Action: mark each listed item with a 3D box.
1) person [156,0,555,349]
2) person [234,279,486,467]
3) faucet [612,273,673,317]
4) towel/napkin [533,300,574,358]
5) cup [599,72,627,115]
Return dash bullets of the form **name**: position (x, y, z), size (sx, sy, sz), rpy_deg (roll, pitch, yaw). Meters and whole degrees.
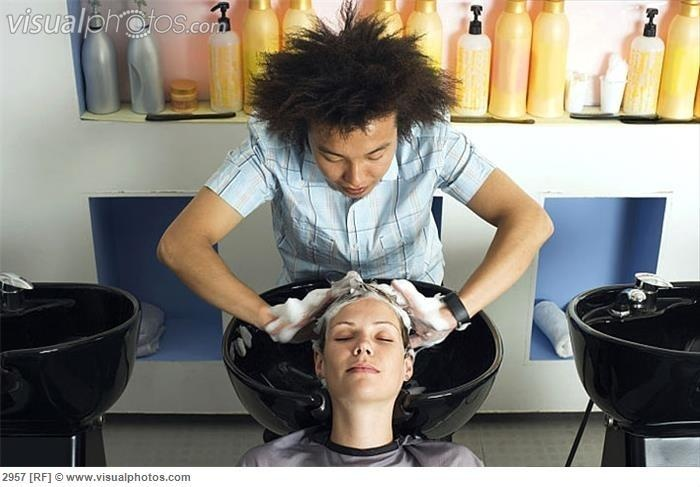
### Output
- **person**: position (0.025, -0.198, 1.836), size (1.135, 0.962, 0.418), rpy_deg (0, 15, 3)
- **person**: position (0.027, 0.308, 1.896), size (0.765, 0.416, 0.662), rpy_deg (2, 43, 3)
- **faucet**: position (0.896, 0.161, 1.934), size (0.181, 0.096, 0.110), rpy_deg (-10, 29, -4)
- **towel/napkin**: position (0.877, 0.372, 2.732), size (0.086, 0.218, 0.219), rpy_deg (-15, 51, -1)
- **cup**: position (1.012, -0.576, 2.398), size (0.092, 0.144, 0.064), rpy_deg (2, 15, 9)
